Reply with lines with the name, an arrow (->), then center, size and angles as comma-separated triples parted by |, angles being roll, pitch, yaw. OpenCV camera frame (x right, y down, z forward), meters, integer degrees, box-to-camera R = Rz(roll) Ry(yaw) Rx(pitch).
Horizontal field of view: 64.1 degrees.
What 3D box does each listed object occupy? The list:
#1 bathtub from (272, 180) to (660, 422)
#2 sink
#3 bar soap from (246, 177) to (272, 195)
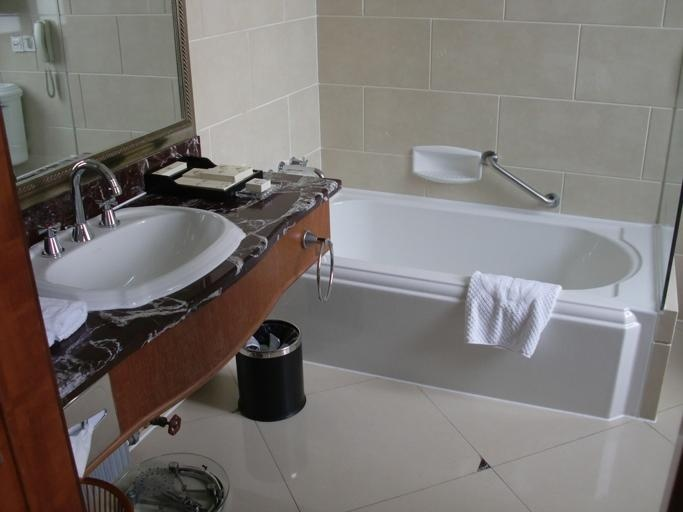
bathtub -> 0.647, 0.181, 2.615 | 1.595, 0.633, 0.778 | 9, 20, 15
sink -> -0.552, 0.006, 1.451 | 0.499, 0.154, 0.505 | 9, 21, 17
bar soap -> -0.278, -0.242, 1.846 | 0.072, 0.041, 0.093 | 9, 21, 17
